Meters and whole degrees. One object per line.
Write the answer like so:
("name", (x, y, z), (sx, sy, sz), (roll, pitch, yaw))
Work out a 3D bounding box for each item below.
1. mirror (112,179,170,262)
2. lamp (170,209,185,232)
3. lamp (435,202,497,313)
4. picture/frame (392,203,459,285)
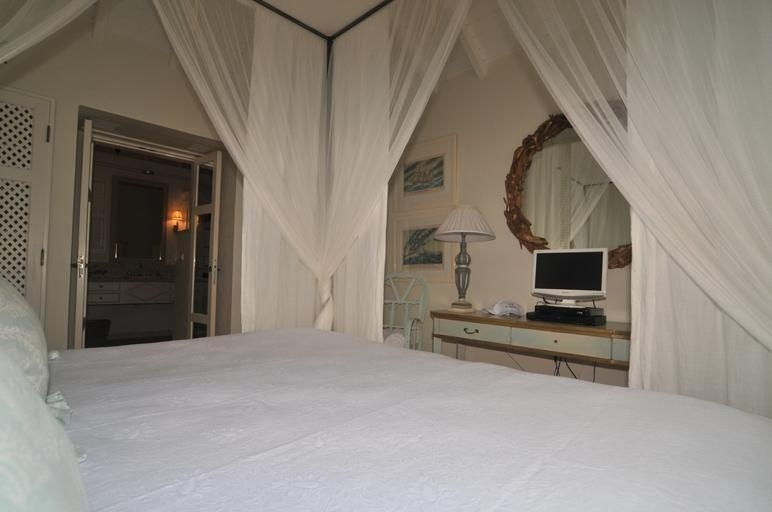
("mirror", (-3.884, -0.559, 7.404), (0.843, 1.273, 0.408), (-6, 13, -33))
("lamp", (-3.329, -0.555, 7.564), (0.387, 0.343, 0.129), (9, 13, 39))
("lamp", (0.622, 0.007, 3.764), (0.488, 0.766, 0.481), (5, -6, -17))
("picture/frame", (0.381, -0.096, 4.290), (0.058, 0.715, 0.754), (0, 2, -43))
